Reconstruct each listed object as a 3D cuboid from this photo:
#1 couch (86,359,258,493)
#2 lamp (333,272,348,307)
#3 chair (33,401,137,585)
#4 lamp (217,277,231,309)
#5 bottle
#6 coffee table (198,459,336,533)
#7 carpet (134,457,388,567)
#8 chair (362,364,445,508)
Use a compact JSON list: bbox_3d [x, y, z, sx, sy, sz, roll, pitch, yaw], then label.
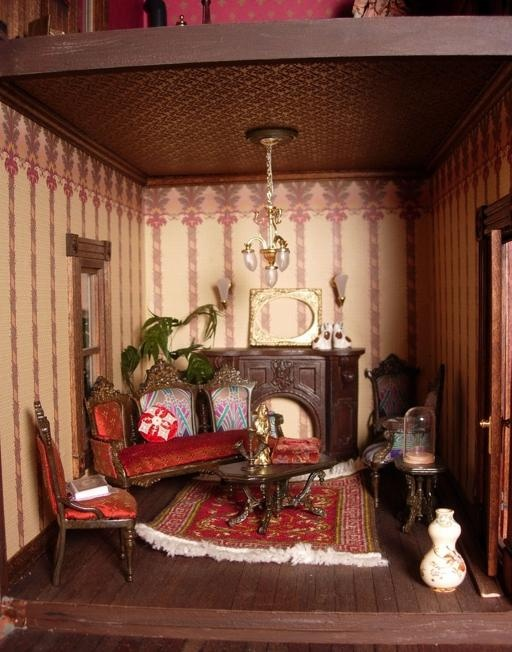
[{"bbox_3d":[-0.701,0.829,4.840,0.518,0.932,1.454,11,7,41],"label":"couch"},{"bbox_3d":[0.893,-0.376,5.962,0.155,0.341,0.153,-1,4,7],"label":"lamp"},{"bbox_3d":[-0.982,0.960,3.339,0.541,1.032,0.446,-3,4,-20],"label":"chair"},{"bbox_3d":[-0.329,-0.348,6.054,0.168,0.333,0.269,-2,3,-4],"label":"lamp"},{"bbox_3d":[1.029,1.222,3.074,0.265,0.440,0.184,-2,4,-1],"label":"bottle"},{"bbox_3d":[0.155,1.227,4.232,0.994,0.426,0.527,-3,-4,-3],"label":"coffee table"},{"bbox_3d":[0.102,1.420,4.332,1.744,0.108,1.732,-1,3,11],"label":"carpet"},{"bbox_3d":[1.086,1.012,5.359,0.861,1.263,0.933,1,0,-39],"label":"chair"}]
